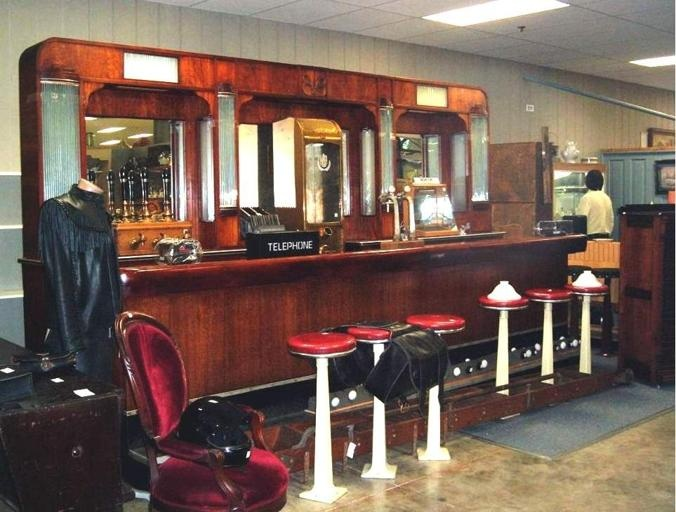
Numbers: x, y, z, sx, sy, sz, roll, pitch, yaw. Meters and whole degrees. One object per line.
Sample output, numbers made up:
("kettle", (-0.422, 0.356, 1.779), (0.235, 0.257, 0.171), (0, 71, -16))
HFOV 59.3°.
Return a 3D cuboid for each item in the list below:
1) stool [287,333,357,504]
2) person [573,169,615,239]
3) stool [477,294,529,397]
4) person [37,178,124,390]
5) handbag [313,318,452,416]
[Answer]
("stool", (-0.098, 1.048, 3.892), (0.345, 1.056, 0.383), (7, 10, 39))
("person", (4.046, -0.826, 9.330), (0.542, 1.061, 0.600), (4, 9, 22))
("stool", (1.526, 0.809, 5.519), (0.399, 1.010, 1.125), (3, 9, 16))
("person", (-1.880, 0.264, 4.303), (0.486, 1.740, 0.535), (25, 28, 20))
("handbag", (0.299, 0.698, 4.138), (0.778, 0.508, 0.616), (1, 3, 41))
